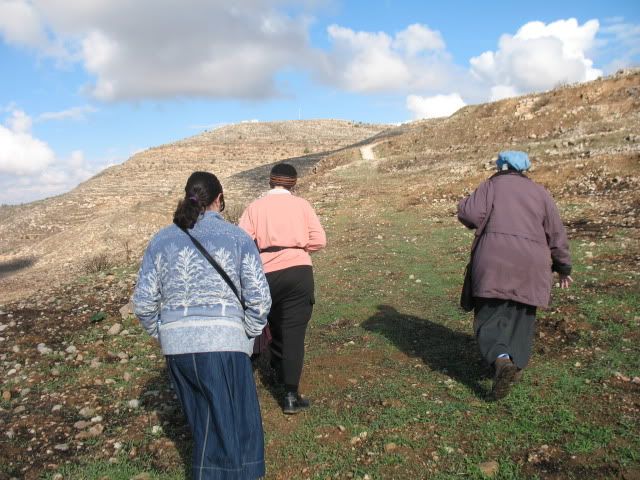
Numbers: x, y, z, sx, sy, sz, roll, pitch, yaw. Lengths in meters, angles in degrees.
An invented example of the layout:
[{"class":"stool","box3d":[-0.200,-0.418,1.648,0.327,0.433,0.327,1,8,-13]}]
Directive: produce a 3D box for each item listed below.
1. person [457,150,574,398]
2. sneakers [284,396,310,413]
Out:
[{"class":"person","box3d":[2.076,0.319,4.587,1.313,2.479,0.837,-17,17,-28]},{"class":"sneakers","box3d":[-0.270,1.778,4.498,0.127,0.153,0.352,-2,-4,27]}]
